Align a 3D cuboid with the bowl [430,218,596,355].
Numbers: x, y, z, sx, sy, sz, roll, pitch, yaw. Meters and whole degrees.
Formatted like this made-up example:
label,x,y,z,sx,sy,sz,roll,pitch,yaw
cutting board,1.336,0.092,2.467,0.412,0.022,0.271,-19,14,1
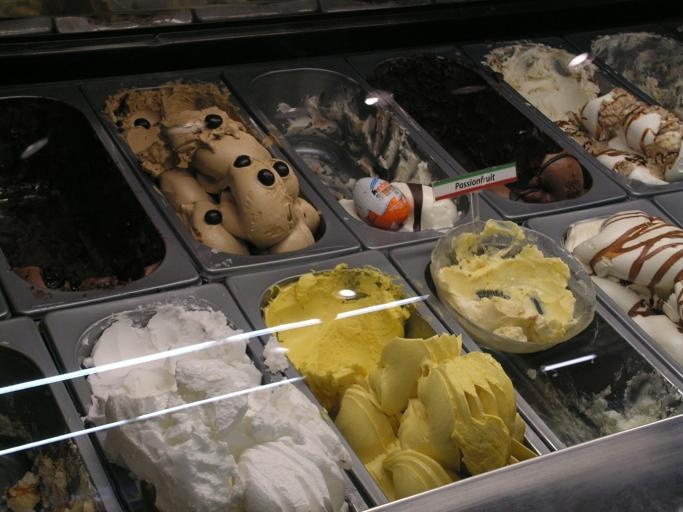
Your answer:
label,x,y,z,sx,sy,sz,roll,pitch,yaw
bowl,0.460,0.096,1.430,0.145,0.424,0.418,95,-160,-44
